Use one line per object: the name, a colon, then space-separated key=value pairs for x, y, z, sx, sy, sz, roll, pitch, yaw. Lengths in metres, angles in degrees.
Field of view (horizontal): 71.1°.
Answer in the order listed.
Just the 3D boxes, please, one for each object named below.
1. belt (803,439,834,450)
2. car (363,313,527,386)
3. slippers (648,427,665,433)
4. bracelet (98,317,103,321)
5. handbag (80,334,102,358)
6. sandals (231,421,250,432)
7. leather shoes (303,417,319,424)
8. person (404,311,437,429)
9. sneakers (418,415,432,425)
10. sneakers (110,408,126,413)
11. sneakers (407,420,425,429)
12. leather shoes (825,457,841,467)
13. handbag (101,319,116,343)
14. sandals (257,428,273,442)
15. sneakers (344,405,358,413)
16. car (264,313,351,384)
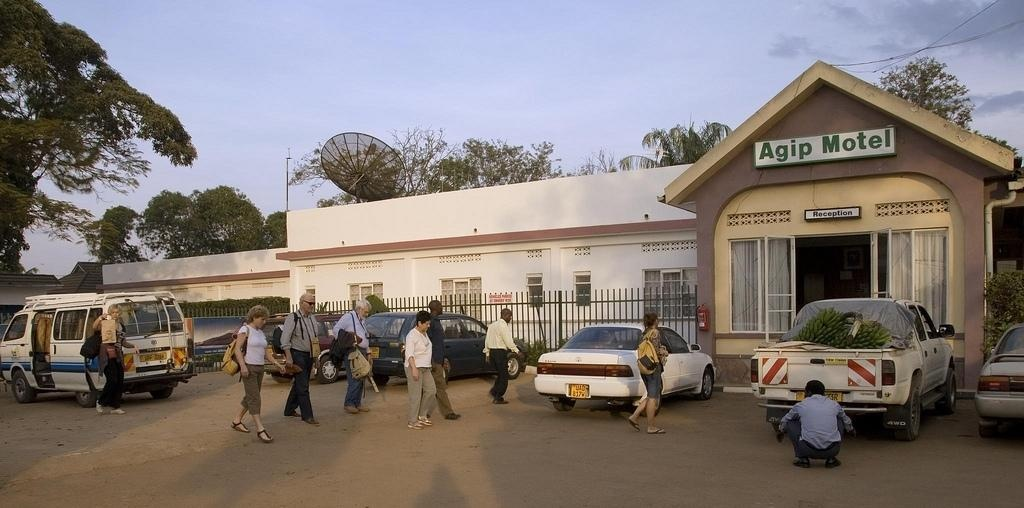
belt: x=7.796 y=4.886 z=18.207 sx=0.991 sy=0.328 sz=0.141 roll=0 pitch=12 yaw=6
car: x=-2.485 y=3.339 z=26.519 sx=5.105 sy=2.000 sz=2.725 roll=-1 pitch=-1 yaw=-42
slippers: x=4.124 y=5.066 z=20.507 sx=0.415 sy=0.131 sz=0.201 roll=-4 pitch=-1 yaw=9
bracelet: x=-13.459 y=2.130 z=23.419 sx=0.132 sy=0.109 sz=0.030 roll=-5 pitch=-26 yaw=21
handbag: x=-13.731 y=3.041 z=23.353 sx=0.795 sy=0.846 sz=0.322 roll=0 pitch=12 yaw=8
sandals: x=-7.943 y=5.052 z=20.850 sx=0.590 sy=0.208 sz=0.261 roll=6 pitch=7 yaw=29
leather shoes: x=-6.043 y=5.030 z=21.613 sx=0.538 sy=0.190 sz=0.195 roll=2 pitch=5 yaw=21
person: x=-2.740 y=3.448 z=21.161 sx=0.701 sy=3.415 sz=1.094 roll=5 pitch=14 yaw=30
sneakers: x=-2.597 y=4.975 z=21.284 sx=0.401 sy=0.150 sz=0.175 roll=3 pitch=1 yaw=23
sneakers: x=-12.993 y=5.166 z=23.533 sx=0.504 sy=0.174 sz=0.185 roll=0 pitch=-3 yaw=9
sneakers: x=-2.821 y=5.033 z=21.096 sx=0.396 sy=0.153 sz=0.190 roll=0 pitch=2 yaw=11
leather shoes: x=8.233 y=5.332 z=18.370 sx=0.428 sy=0.253 sz=0.207 roll=-9 pitch=13 yaw=-38
handbag: x=-13.095 y=2.519 z=23.223 sx=0.447 sy=0.733 sz=0.410 roll=-6 pitch=12 yaw=-20
sandals: x=-7.060 y=5.142 z=20.306 sx=0.254 sy=0.246 sz=0.676 roll=-3 pitch=1 yaw=-41
sneakers: x=-5.079 y=4.900 z=22.582 sx=0.412 sy=0.164 sz=0.208 roll=-2 pitch=3 yaw=23
car: x=-7.648 y=3.580 z=26.938 sx=2.199 sy=1.938 sz=4.028 roll=-1 pitch=0 yaw=35
